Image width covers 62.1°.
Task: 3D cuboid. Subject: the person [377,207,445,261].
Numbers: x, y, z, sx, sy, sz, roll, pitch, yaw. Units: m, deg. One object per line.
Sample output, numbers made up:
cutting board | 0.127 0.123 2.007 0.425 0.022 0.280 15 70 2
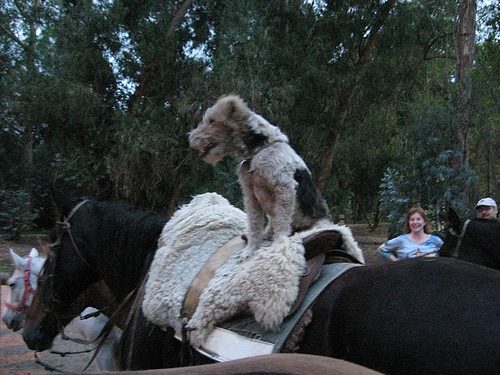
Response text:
person | 2.256 0.732 5.739 0.860 0.907 0.513 -2 -6 17

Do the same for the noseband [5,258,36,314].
noseband | -2.388 1.038 4.398 0.284 0.554 0.179 1 -2 23
